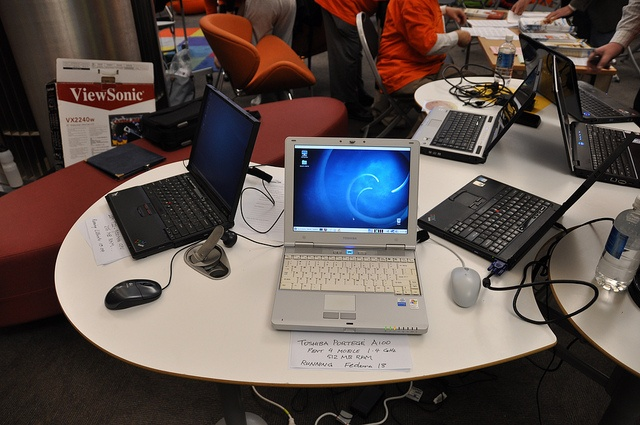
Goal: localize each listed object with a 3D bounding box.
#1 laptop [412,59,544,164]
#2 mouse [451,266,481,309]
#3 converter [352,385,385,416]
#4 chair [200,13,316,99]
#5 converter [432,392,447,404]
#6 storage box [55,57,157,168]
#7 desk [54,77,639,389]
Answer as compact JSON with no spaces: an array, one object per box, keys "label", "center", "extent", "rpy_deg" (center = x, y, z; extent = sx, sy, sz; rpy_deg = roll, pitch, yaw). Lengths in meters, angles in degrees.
[{"label":"laptop","center":[0.822,-0.461,2.465],"extent":[0.565,0.394,0.650],"rpy_deg":[13,49,21]},{"label":"mouse","center":[0.592,0.263,1.850],"extent":[0.128,0.064,0.187],"rpy_deg":[0,35,9]},{"label":"converter","center":[0.257,0.982,2.384],"extent":[0.093,0.042,0.182],"rpy_deg":[21,39,26]},{"label":"chair","center":[-0.544,-1.297,3.877],"extent":[0.811,0.515,0.758],"rpy_deg":[-11,52,-19]},{"label":"converter","center":[0.640,0.987,2.420],"extent":[0.070,0.016,0.037],"rpy_deg":[-28,68,-26]},{"label":"storage box","center":[-1.467,-0.675,3.064],"extent":[0.688,0.769,0.223],"rpy_deg":[-9,17,-22]},{"label":"desk","center":[0.102,0.104,1.892],"extent":[2.392,0.657,1.142],"rpy_deg":[-8,39,-12]}]
